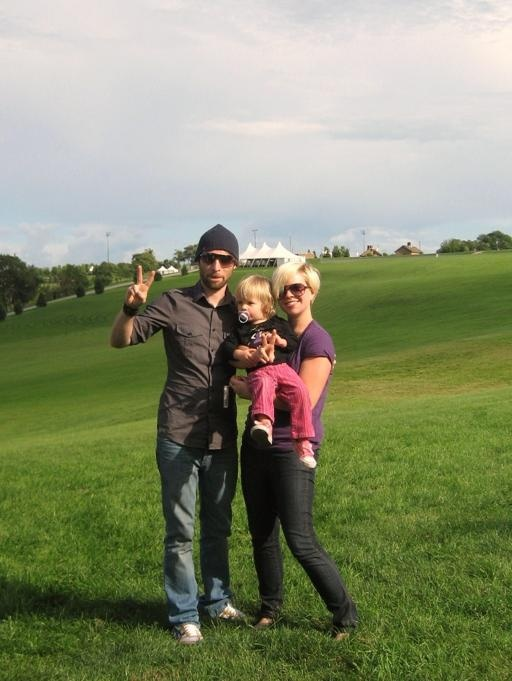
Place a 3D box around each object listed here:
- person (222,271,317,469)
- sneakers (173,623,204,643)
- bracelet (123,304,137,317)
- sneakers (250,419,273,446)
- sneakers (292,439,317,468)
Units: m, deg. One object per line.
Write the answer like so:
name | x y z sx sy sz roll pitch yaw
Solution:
person | 0.044 0.149 4.638 0.548 1.597 0.696 -2 -29 -12
sneakers | -0.494 2.108 4.523 0.203 0.133 0.196 -6 1 -7
bracelet | -0.904 -0.216 4.533 0.101 0.069 0.099 9 -3 -40
sneakers | 0.039 0.638 4.300 0.148 0.176 0.154 -6 1 0
sneakers | 0.342 0.783 4.314 0.128 0.196 0.245 -6 1 4
